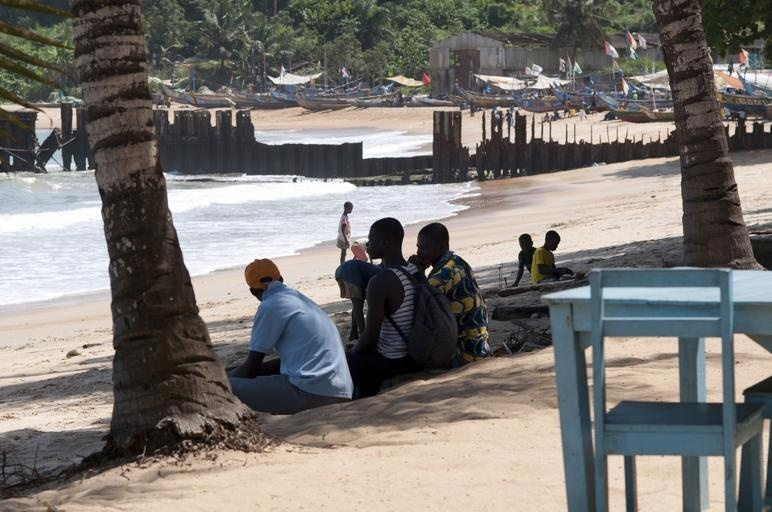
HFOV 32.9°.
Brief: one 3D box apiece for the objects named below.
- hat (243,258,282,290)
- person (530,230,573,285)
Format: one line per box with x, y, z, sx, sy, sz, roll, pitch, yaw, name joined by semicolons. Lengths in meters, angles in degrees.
-1.447;0.213;15.475;0.404;0.346;0.221;-4;6;-1;hat
2.648;0.062;19.955;0.720;0.890;0.534;1;5;21;person
